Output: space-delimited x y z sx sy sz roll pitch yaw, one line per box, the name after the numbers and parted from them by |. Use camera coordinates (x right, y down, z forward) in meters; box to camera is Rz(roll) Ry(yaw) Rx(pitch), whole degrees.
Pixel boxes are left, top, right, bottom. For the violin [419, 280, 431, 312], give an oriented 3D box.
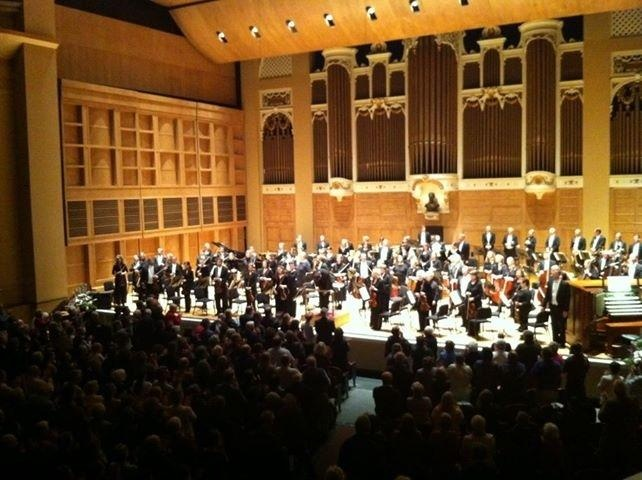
2.555 1.325 13.201 0.202 0.695 0.325 -8 -6 -7 | violin

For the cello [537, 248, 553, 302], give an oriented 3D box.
5.912 1.026 14.392 0.390 1.445 0.435 1 -10 35 | cello

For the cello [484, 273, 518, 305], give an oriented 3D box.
4.488 1.269 13.658 0.589 0.803 0.312 -1 -37 4 | cello

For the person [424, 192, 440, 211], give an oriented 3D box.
4.037 -1.416 19.745 0.608 0.954 0.358 0 1 20 | person
